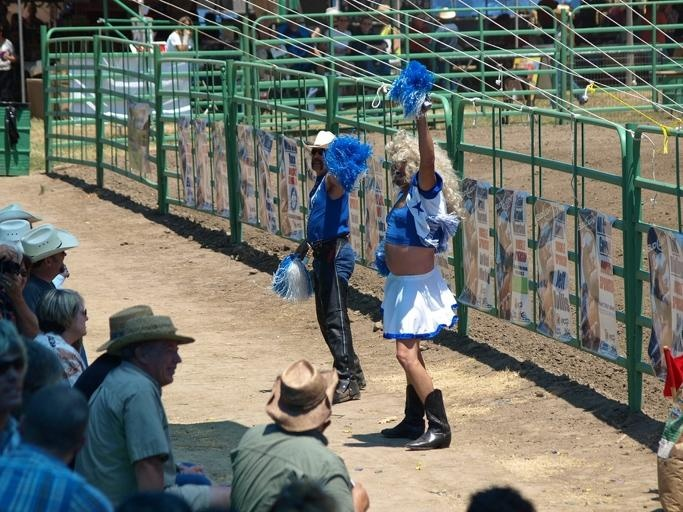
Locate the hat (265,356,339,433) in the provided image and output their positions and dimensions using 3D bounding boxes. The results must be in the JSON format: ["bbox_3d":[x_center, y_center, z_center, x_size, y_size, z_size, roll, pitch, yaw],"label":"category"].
[{"bbox_3d":[-0.289,0.978,12.173,0.539,0.277,0.735,1,35,4],"label":"hat"}]

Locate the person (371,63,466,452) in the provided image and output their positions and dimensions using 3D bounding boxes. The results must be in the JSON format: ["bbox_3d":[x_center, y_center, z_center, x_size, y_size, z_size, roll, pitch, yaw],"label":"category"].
[{"bbox_3d":[0.710,-0.009,14.478,0.758,3.518,0.689,2,7,-1],"label":"person"}]

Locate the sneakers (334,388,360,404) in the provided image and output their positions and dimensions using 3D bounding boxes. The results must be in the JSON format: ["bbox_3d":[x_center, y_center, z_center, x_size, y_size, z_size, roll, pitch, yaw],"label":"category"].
[{"bbox_3d":[0.048,1.399,15.827,0.308,0.164,0.123,0,3,-28],"label":"sneakers"}]
